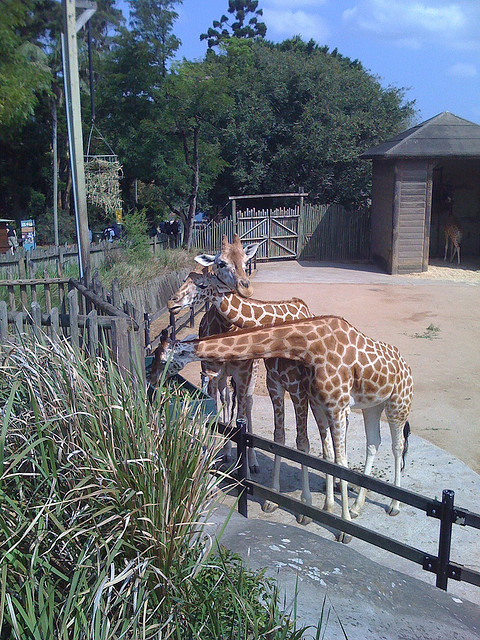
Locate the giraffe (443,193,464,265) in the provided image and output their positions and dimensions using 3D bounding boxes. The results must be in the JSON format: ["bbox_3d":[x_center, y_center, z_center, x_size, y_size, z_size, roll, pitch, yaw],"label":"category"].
[{"bbox_3d":[8.396,-3.634,22.011,0.762,2.700,2.535,5,8,21],"label":"giraffe"}]
